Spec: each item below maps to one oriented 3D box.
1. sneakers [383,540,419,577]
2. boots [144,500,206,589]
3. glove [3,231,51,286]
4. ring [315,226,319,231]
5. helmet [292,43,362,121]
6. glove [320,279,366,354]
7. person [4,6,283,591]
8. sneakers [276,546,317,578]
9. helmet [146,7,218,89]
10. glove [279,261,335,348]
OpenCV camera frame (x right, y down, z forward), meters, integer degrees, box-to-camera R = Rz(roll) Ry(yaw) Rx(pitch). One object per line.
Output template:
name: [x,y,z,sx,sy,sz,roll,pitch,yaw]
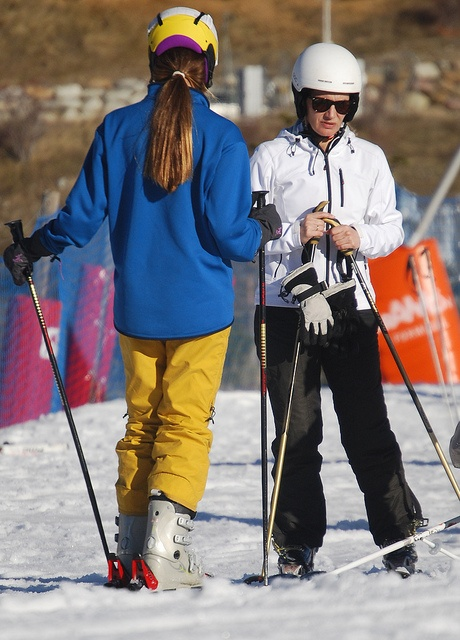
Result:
sneakers: [0.596,0.843,3.552,0.063,0.081,0.186,-8,2,18]
boots: [-0.174,0.749,3.220,0.128,0.284,0.368,-6,-23,24]
glove: [-0.713,-0.226,3.551,0.211,0.132,0.083,-40,-5,25]
ring: [0.304,-0.321,3.535,0.011,0.021,0.012,0,2,0]
helmet: [0.342,-0.889,3.729,0.239,0.274,0.298,2,15,-11]
glove: [0.405,-0.009,3.624,0.177,0.247,0.230,-2,0,-15]
person: [-0.178,-0.103,3.263,0.606,1.743,0.860,-8,20,-30]
sneakers: [0.230,0.863,3.590,0.092,0.090,0.113,-1,-22,5]
helmet: [-0.144,-0.918,3.396,0.207,0.236,0.271,2,5,6]
glove: [0.277,-0.050,3.605,0.185,0.276,0.102,-30,-10,-2]
